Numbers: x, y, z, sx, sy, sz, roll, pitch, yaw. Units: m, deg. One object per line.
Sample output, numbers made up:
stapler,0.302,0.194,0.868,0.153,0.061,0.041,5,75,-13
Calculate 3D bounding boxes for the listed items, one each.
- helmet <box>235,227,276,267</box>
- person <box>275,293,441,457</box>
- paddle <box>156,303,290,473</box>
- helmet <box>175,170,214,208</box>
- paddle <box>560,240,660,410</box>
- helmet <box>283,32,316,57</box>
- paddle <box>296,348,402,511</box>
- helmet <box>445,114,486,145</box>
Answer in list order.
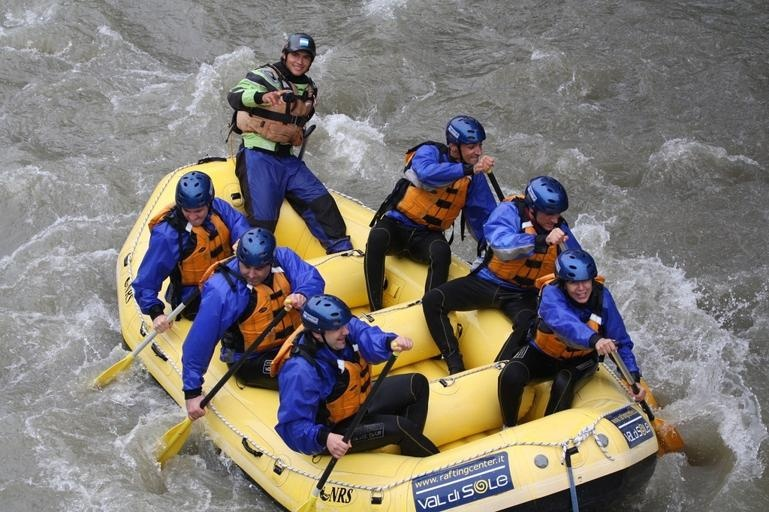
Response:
helmet,-1.280,-0.075,9.708,0.383,0.238,0.404,0,73,-3
person,-0.281,1.318,9.376,1.551,0.933,1.368,24,73,4
paddle,-1.582,1.372,9.880,2.324,0.197,0.315,-45,63,6
helmet,-1.955,-0.698,10.055,0.312,0.422,0.308,2,40,-4
paddle,2.172,0.665,9.579,0.866,0.544,1.490,-18,69,-50
helmet,-0.989,-2.421,11.228,0.351,0.318,0.338,-8,73,-6
paddle,-0.368,1.692,9.351,0.344,0.135,1.888,38,100,20
helmet,0.853,-1.388,10.567,0.393,0.222,0.281,29,37,31
